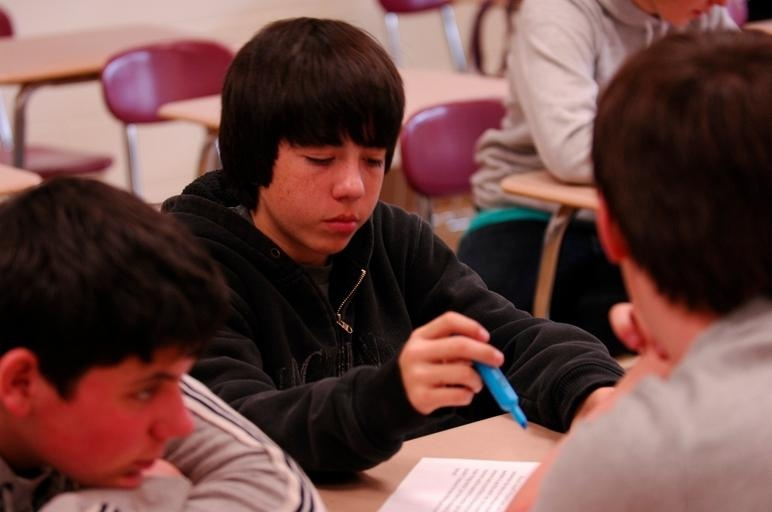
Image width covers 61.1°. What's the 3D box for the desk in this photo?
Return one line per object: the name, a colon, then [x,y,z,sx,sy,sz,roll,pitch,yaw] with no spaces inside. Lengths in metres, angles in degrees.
desk: [0.004,-0.069,1.263,0.644,0.827,0.809,-16,21,-40]
